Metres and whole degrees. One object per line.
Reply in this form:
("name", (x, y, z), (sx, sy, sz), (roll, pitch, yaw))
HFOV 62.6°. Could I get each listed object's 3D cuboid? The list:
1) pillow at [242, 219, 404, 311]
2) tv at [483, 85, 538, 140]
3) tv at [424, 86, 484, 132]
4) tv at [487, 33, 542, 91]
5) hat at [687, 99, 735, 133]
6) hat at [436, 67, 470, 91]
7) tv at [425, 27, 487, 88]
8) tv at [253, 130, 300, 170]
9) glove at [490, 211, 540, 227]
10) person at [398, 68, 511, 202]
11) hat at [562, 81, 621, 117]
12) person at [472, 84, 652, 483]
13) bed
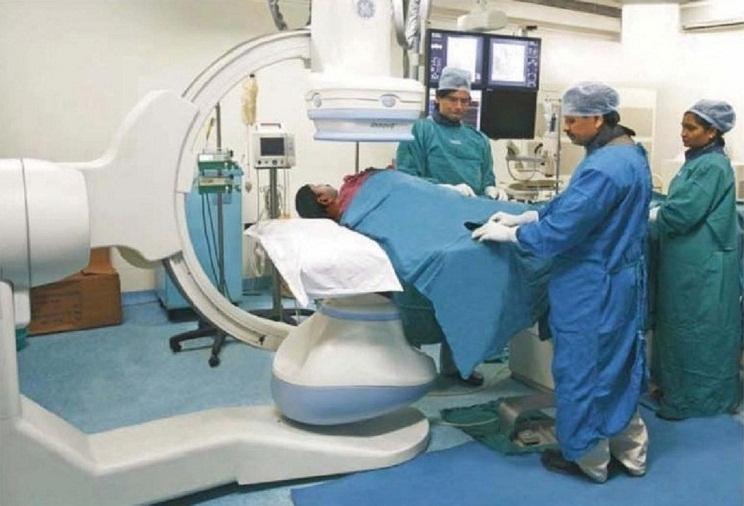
("pillow", (-0.239, 0.032, 2.946), (0.558, 0.359, 0.639), (-6, 11, -21))
("tv", (1.186, -1.205, 5.263), (0.508, 0.447, 0.117), (1, 5, -14))
("tv", (0.710, -1.302, 5.249), (0.531, 0.486, 0.296), (1, 50, 3))
("tv", (1.222, -1.638, 5.298), (0.078, 0.477, 0.647), (-13, 23, -29))
("hat", (1.800, -0.727, 3.257), (0.201, 0.112, 0.161), (5, 50, 29))
("hat", (0.513, -1.077, 3.784), (0.160, 0.104, 0.153), (-5, 20, -12))
("tv", (0.689, -1.601, 5.078), (0.584, 0.470, 0.062), (-6, 15, -25))
("tv", (-0.711, -0.750, 4.366), (0.311, 0.286, 0.170), (-5, 15, -24))
("glove", (0.696, -0.167, 2.986), (0.177, 0.045, 0.105), (-1, 10, -21))
("person", (0.544, -0.741, 3.924), (0.758, 0.844, 0.580), (-3, 13, -30))
("hat", (1.050, -0.745, 2.927), (0.314, 0.168, 0.282), (8, 17, 0))
("person", (0.984, 0.145, 2.916), (0.725, 1.859, 0.457), (0, 11, 10))
("bed", (0.143, 0.288, 3.499), (1.404, 1.158, 1.271), (-7, 8, -10))
